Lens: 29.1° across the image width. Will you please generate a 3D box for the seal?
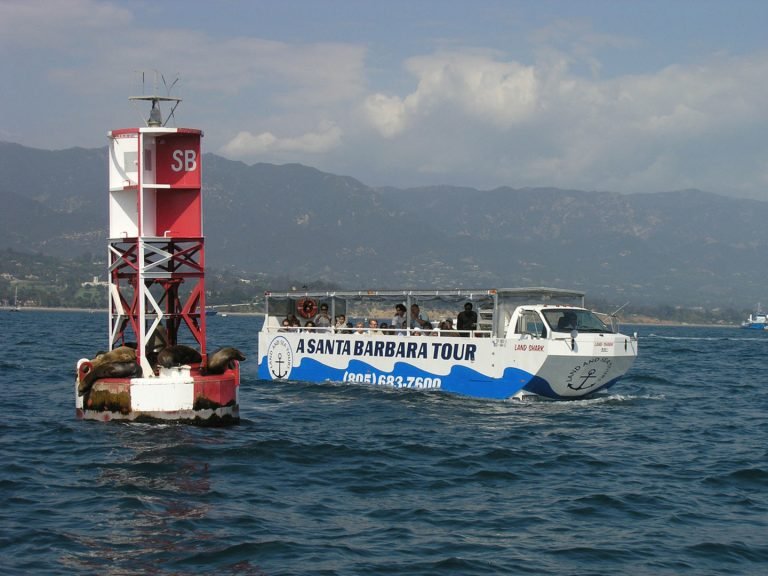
[{"bbox_3d":[-7.009,1.974,46.452,4.994,1.795,3.997,-1,13,-9],"label":"seal"}]
